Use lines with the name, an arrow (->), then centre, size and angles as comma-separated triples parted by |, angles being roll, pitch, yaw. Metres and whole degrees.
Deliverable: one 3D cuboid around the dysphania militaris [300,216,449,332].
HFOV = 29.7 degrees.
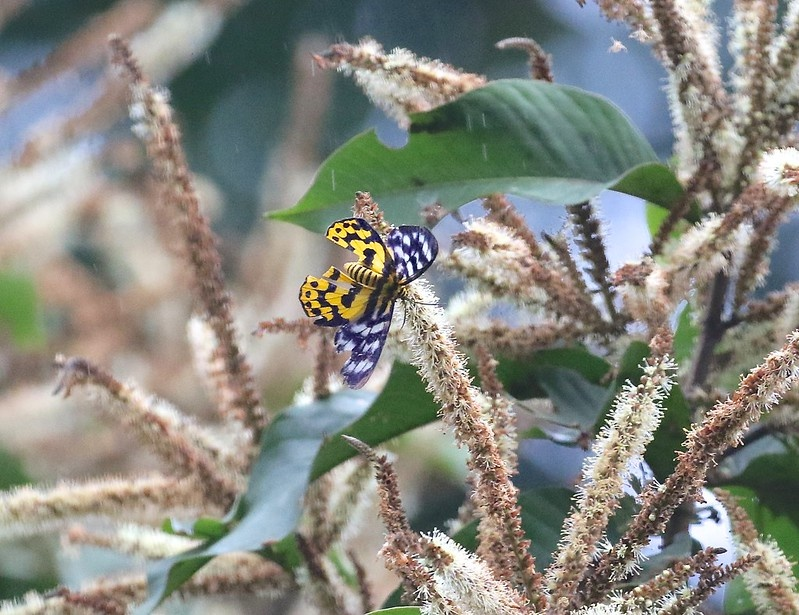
dysphania militaris -> -0.032, -0.030, 1.565 | 0.139, 0.159, 0.074 | 32, 32, 35
